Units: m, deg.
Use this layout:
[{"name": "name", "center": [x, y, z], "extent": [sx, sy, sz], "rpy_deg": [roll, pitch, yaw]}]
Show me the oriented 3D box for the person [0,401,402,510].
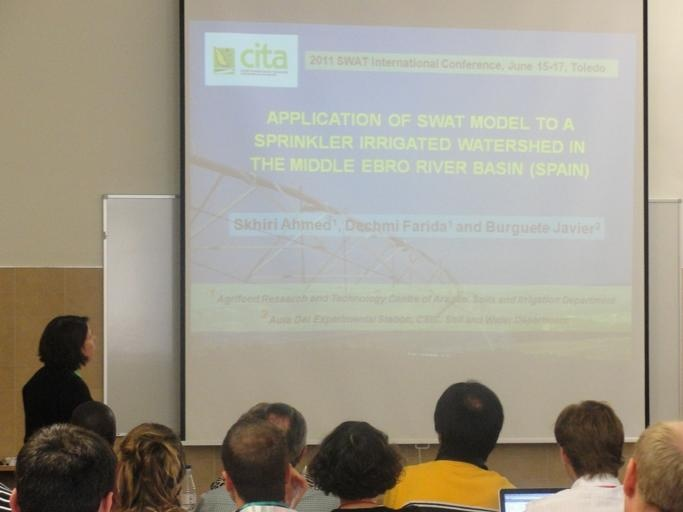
[{"name": "person", "center": [-0.794, 1.143, 6.744], "extent": [2.194, 0.605, 0.755], "rpy_deg": [1, -6, -4]}]
